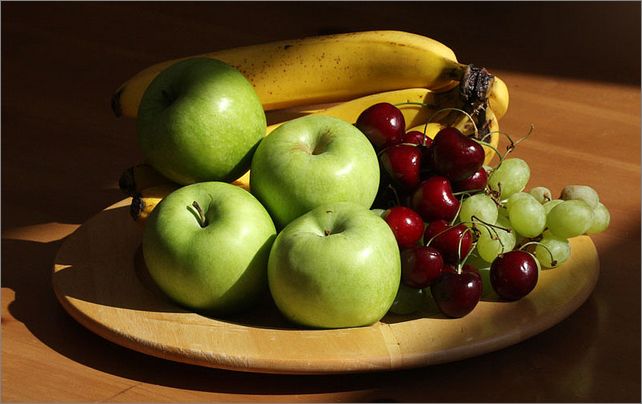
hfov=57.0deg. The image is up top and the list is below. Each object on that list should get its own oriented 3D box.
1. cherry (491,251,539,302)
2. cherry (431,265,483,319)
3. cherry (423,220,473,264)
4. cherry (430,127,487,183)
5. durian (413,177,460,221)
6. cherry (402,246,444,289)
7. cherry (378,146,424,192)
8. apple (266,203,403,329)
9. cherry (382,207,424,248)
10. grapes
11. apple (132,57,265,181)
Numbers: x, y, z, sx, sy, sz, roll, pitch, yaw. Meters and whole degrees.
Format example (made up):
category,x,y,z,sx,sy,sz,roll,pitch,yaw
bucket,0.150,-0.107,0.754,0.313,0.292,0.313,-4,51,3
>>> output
category,x,y,z,sx,sy,sz,roll,pitch,yaw
cherry,0.439,0.165,1.331,0.103,0.127,0.108,-2,17,2
cherry,0.306,0.201,1.355,0.111,0.097,0.100,5,21,2
cherry,0.317,0.083,1.442,0.104,0.093,0.098,5,19,42
cherry,0.321,-0.098,1.479,0.118,0.121,0.127,-9,-9,8
durian,0.291,-0.018,1.489,0.125,0.098,0.098,3,14,30
cherry,0.226,0.145,1.384,0.111,0.082,0.091,-9,15,-14
cherry,0.199,-0.090,1.448,0.077,0.103,0.104,-21,19,-36
apple,0.033,0.149,1.315,0.275,0.173,0.239,-28,52,-25
cherry,0.199,0.054,1.436,0.116,0.084,0.098,-14,17,-18
grapes,0.508,0.018,1.525,0.288,0.291,0.331,-8,19,-22
apple,-0.288,-0.209,1.572,0.297,0.307,0.297,-13,34,-3
